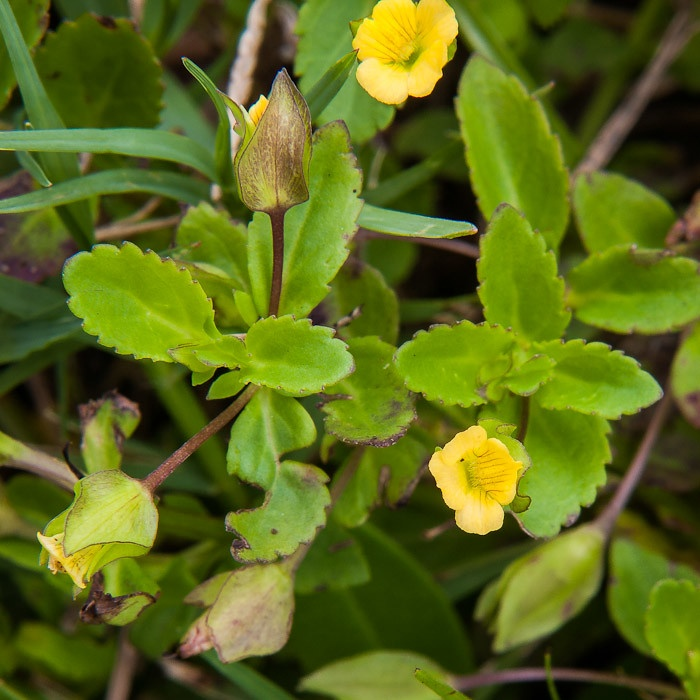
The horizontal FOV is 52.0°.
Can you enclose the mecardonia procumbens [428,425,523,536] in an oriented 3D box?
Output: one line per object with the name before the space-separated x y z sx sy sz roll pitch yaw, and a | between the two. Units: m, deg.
mecardonia procumbens | 0.083 0.086 0.482 0.056 0.047 0.050 38 67 26
